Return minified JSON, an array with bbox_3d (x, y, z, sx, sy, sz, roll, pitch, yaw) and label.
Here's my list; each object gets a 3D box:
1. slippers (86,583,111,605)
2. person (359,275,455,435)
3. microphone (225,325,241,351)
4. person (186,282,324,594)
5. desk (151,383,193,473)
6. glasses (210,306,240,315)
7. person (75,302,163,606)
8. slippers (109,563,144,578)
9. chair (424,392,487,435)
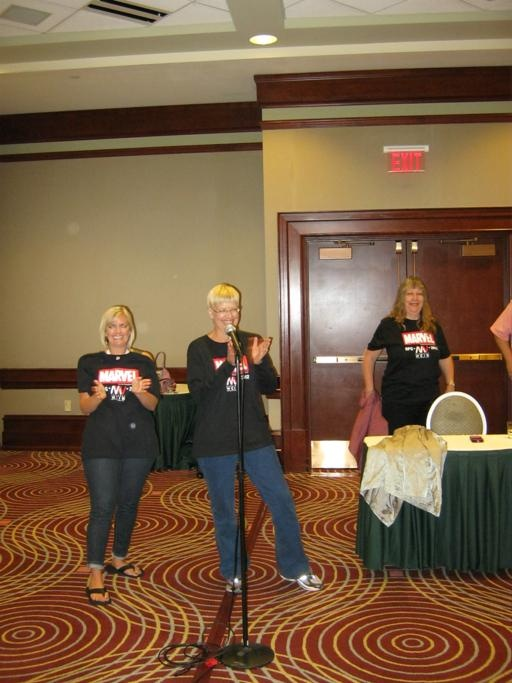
[{"bbox_3d":[-0.798,1.268,2.833,0.112,0.072,0.146,-1,-2,-22],"label":"slippers"},{"bbox_3d":[1.103,0.088,3.932,0.604,1.075,0.685,-1,-2,-2],"label":"person"},{"bbox_3d":[-0.097,-0.020,2.155,0.038,0.034,0.146,-12,30,1],"label":"microphone"},{"bbox_3d":[-0.048,0.515,2.764,0.605,1.583,0.766,-2,-3,10],"label":"person"},{"bbox_3d":[-0.802,0.985,6.184,0.563,0.705,0.566,-2,-4,1],"label":"desk"},{"bbox_3d":[-0.157,-0.140,2.637,0.137,0.035,0.126,-2,-2,3],"label":"glasses"},{"bbox_3d":[-0.725,0.562,2.985,0.415,1.509,0.575,-1,-3,-10],"label":"person"},{"bbox_3d":[-0.754,1.287,3.202,0.163,0.044,0.083,2,-6,9],"label":"slippers"},{"bbox_3d":[1.209,0.418,3.542,0.300,0.391,0.314,0,1,6],"label":"chair"}]
